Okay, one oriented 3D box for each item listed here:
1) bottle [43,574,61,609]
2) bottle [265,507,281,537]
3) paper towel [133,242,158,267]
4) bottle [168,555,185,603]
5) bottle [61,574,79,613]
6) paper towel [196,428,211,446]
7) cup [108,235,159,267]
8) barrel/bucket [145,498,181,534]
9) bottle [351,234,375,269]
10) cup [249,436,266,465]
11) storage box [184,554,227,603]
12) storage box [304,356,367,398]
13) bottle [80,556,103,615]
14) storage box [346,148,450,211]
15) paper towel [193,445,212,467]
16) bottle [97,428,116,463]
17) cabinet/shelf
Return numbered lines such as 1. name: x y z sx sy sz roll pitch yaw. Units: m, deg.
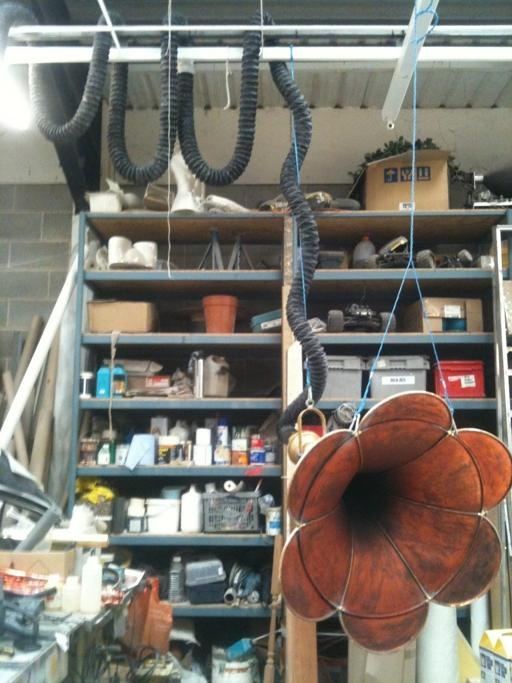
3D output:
1. bottle: -0.705 0.881 2.805 0.067 0.143 0.079 2 -18 -3
2. bottle: 0.088 0.873 3.840 0.076 0.133 0.044 -6 -16 11
3. paper towel: -0.577 -0.469 4.218 0.110 0.157 0.126 2 4 21
4. bottle: -0.395 1.180 3.930 0.083 0.232 0.108 0 -17 -9
5. bottle: -0.656 0.897 2.806 0.061 0.128 0.057 -2 -16 -1
6. paper towel: -0.267 0.485 4.045 0.066 0.096 0.075 0 -2 -18
7. cup: -0.639 -0.451 4.162 0.221 0.191 0.144 3 -8 -18
8. barrel/bucket: -0.465 0.871 3.943 0.121 0.134 0.162 2 -25 -5
9. bottle: 0.592 -0.496 4.342 0.116 0.257 0.139 -1 -28 19
10. cup: 0.007 0.548 4.016 0.095 0.218 0.112 0 -13 3
11. storage box: -0.246 1.161 3.854 0.134 0.163 0.201 -3 4 -4
12. storage box: 0.455 0.183 4.105 0.209 0.268 0.240 1 -7 -3
13. bottle: -0.594 0.876 2.847 0.077 0.211 0.141 1 -17 -13
14. storage box: 0.816 -0.854 4.247 0.407 0.338 0.477 0 -3 11
15. paper towel: -0.272 0.575 4.014 0.078 0.101 0.089 -2 -8 8
16. bottle: -0.756 0.533 4.023 0.082 0.268 0.094 5 -26 -10
17. cabinet/shelf: 0.121 0.457 3.523 1.659 2.924 0.609 0 -19 -1
